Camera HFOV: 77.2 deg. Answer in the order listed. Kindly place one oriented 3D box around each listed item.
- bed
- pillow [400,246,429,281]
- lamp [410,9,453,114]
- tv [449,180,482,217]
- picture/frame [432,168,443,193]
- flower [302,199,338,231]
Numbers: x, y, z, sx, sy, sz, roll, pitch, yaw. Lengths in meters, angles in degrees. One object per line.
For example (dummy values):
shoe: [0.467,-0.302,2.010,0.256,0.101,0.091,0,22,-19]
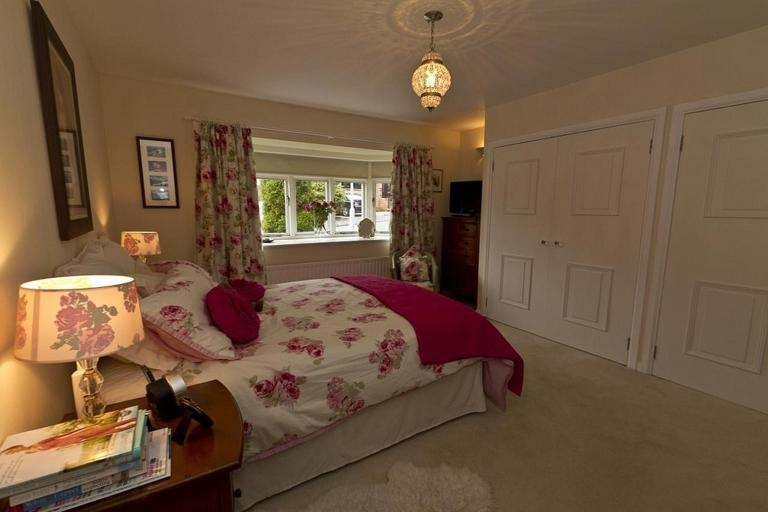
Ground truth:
bed: [-0.421,0.940,3.603,1.909,0.537,1.651,-10,18,-27]
pillow: [0.373,0.097,5.828,0.321,0.389,0.131,-3,-9,11]
lamp: [0.415,-1.564,4.104,0.284,0.756,0.913,2,8,6]
tv: [1.104,-0.765,6.413,0.070,0.371,0.515,-8,16,-29]
picture/frame: [0.735,-1.058,6.655,0.015,0.349,0.328,4,6,42]
flower: [-0.853,-0.536,6.426,0.401,0.412,0.409,1,3,30]
